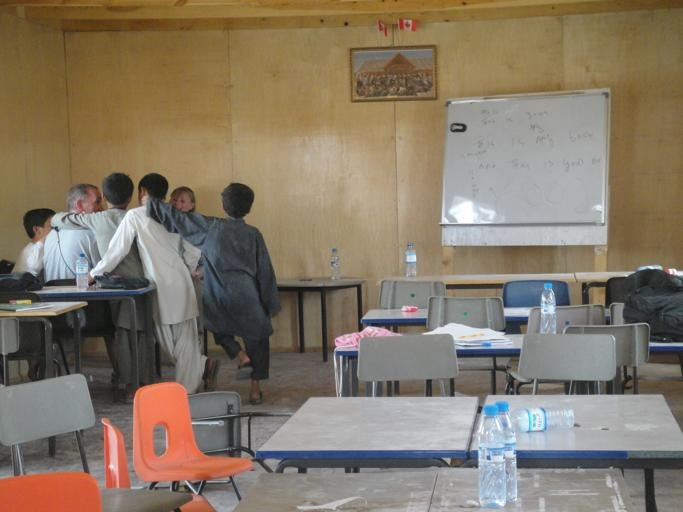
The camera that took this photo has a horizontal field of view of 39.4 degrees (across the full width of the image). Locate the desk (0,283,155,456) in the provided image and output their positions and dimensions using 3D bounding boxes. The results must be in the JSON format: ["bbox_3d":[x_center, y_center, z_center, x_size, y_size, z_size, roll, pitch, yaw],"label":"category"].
[{"bbox_3d":[-2.104,0.842,7.759,1.082,0.923,1.115,0,-3,4],"label":"desk"}]

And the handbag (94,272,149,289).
[{"bbox_3d":[-1.838,0.216,7.974,0.279,0.101,0.189,3,-3,-13],"label":"handbag"}]

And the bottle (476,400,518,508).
[{"bbox_3d":[0.751,0.938,4.606,0.187,0.441,0.356,-1,4,10],"label":"bottle"}]

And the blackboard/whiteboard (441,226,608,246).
[{"bbox_3d":[1.881,-0.218,10.000,1.475,0.223,0.250,0,12,8],"label":"blackboard/whiteboard"}]

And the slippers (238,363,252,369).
[{"bbox_3d":[-0.848,0.956,8.379,0.043,0.044,0.102,-1,3,-39],"label":"slippers"}]

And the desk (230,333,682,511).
[{"bbox_3d":[0.701,1.113,5.070,2.113,0.637,0.704,-2,4,5],"label":"desk"}]

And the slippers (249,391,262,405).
[{"bbox_3d":[-0.754,1.228,8.316,0.068,0.091,0.203,-1,-13,-1],"label":"slippers"}]

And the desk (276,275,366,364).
[{"bbox_3d":[-0.248,0.688,10.337,0.819,0.877,0.894,0,-5,39],"label":"desk"}]

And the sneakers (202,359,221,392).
[{"bbox_3d":[-1.160,1.025,8.406,0.127,0.341,0.109,-5,19,-12],"label":"sneakers"}]

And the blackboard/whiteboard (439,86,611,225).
[{"bbox_3d":[1.922,-0.995,9.803,1.242,1.171,0.182,2,-3,7],"label":"blackboard/whiteboard"}]
